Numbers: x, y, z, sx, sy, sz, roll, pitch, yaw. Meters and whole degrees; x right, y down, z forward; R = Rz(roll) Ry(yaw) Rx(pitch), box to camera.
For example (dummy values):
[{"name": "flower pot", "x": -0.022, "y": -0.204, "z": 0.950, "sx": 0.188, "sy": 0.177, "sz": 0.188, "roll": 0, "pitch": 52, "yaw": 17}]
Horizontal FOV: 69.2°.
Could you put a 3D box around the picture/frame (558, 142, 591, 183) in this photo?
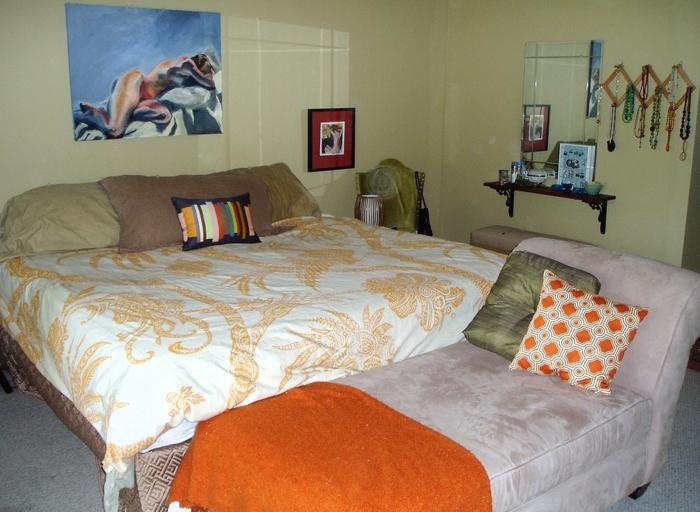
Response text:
[{"name": "picture/frame", "x": 1.884, "y": -0.777, "z": 4.239, "sx": 0.228, "sy": 0.409, "sz": 0.292, "roll": -12, "pitch": 17, "yaw": -41}]

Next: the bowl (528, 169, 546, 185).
[{"name": "bowl", "x": 1.608, "y": -0.681, "z": 4.385, "sx": 0.130, "sy": 0.113, "sz": 0.138, "roll": -2, "pitch": 11, "yaw": 0}]

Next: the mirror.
[{"name": "mirror", "x": 1.769, "y": -1.280, "z": 4.322, "sx": 0.087, "sy": 1.044, "sz": 0.695, "roll": -14, "pitch": 21, "yaw": -41}]

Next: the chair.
[{"name": "chair", "x": 0.348, "y": -0.486, "z": 4.689, "sx": 0.675, "sy": 0.756, "sz": 0.667, "roll": -9, "pitch": 9, "yaw": -40}]

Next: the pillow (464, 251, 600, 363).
[{"name": "pillow", "x": 0.828, "y": 0.255, "z": 2.396, "sx": 0.469, "sy": 0.174, "sz": 0.619, "roll": 13, "pitch": 64, "yaw": 49}]

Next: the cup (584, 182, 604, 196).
[{"name": "cup", "x": 1.932, "y": -0.531, "z": 4.015, "sx": 0.105, "sy": 0.071, "sz": 0.105, "roll": -2, "pitch": 13, "yaw": 1}]

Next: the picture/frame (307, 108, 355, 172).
[{"name": "picture/frame", "x": -0.186, "y": -1.043, "z": 4.497, "sx": 0.540, "sy": 0.551, "sz": 0.044, "roll": -11, "pitch": 20, "yaw": -38}]

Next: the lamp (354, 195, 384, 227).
[{"name": "lamp", "x": 0.186, "y": -0.390, "z": 4.456, "sx": 0.261, "sy": 0.254, "sz": 0.261, "roll": 1, "pitch": 6, "yaw": -13}]

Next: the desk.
[{"name": "desk", "x": 1.698, "y": -0.424, "z": 4.388, "sx": 0.317, "sy": 0.401, "sz": 1.045, "roll": -14, "pitch": 20, "yaw": -40}]

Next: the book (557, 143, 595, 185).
[{"name": "book", "x": 1.893, "y": -0.765, "z": 4.229, "sx": 0.234, "sy": 0.422, "sz": 0.305, "roll": -12, "pitch": 17, "yaw": -41}]
